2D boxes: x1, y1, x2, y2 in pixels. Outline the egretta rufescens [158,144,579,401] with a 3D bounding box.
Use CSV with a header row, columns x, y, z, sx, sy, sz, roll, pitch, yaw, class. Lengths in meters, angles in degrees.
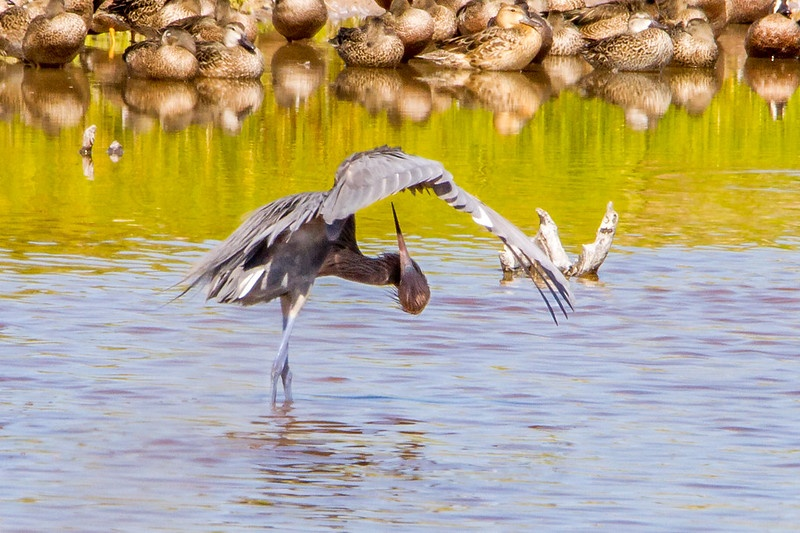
x,y,z,sx,sy,sz,roll,pitch,yaw,class
-0.179,-0.232,10.188,2.215,1.005,2.945,-4,8,-27,egretta rufescens
